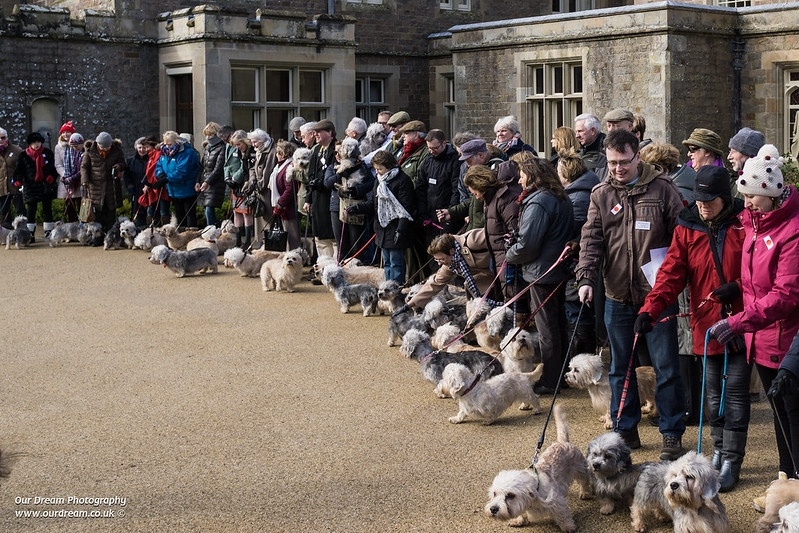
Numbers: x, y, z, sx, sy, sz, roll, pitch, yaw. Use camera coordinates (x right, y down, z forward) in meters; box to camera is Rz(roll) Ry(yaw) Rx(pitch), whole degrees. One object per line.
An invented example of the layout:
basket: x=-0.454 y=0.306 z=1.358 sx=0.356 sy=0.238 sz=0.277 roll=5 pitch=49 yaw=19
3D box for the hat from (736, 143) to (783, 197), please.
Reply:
hat: x=3.651 y=-0.992 z=10.254 sx=0.441 sy=0.544 sz=0.422 roll=4 pitch=6 yaw=11

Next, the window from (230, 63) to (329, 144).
window: x=-2.948 y=-3.900 z=24.017 sx=2.364 sy=2.041 sz=0.298 roll=-4 pitch=6 yaw=-33

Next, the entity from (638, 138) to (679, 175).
entity: x=3.196 y=-1.346 z=12.324 sx=0.436 sy=0.525 sz=0.457 roll=-11 pitch=1 yaw=-2

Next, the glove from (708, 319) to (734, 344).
glove: x=3.259 y=0.651 z=10.230 sx=0.222 sy=0.242 sz=0.089 roll=-36 pitch=-16 yaw=19

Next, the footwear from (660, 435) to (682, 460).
footwear: x=2.951 y=1.948 z=10.982 sx=0.246 sy=0.251 sz=0.312 roll=1 pitch=6 yaw=17

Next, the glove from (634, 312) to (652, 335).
glove: x=2.590 y=0.588 z=10.745 sx=0.178 sy=0.237 sz=0.141 roll=0 pitch=5 yaw=16

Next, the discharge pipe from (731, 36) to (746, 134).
discharge pipe: x=8.142 y=-4.642 z=24.076 sx=0.409 sy=2.134 sz=0.497 roll=-5 pitch=41 yaw=13

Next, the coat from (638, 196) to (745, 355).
coat: x=3.112 y=0.050 z=10.742 sx=1.284 sy=2.181 sz=0.829 roll=2 pitch=8 yaw=35

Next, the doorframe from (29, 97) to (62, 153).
doorframe: x=-8.796 y=-3.466 z=25.212 sx=0.810 sy=1.780 sz=0.141 roll=0 pitch=-23 yaw=-19

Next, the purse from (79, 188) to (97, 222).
purse: x=-6.614 y=-1.326 z=21.617 sx=0.189 sy=0.645 sz=0.568 roll=-1 pitch=8 yaw=-23

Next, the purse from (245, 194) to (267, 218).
purse: x=-2.629 y=-1.154 z=18.728 sx=0.163 sy=0.363 sz=0.321 roll=-34 pitch=20 yaw=-34

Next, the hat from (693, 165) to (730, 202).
hat: x=3.272 y=-0.873 z=10.568 sx=0.422 sy=0.361 sz=0.226 roll=-4 pitch=6 yaw=-23

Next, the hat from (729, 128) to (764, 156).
hat: x=3.999 y=-1.460 z=11.669 sx=0.363 sy=0.311 sz=0.300 roll=-4 pitch=17 yaw=0

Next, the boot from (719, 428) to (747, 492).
boot: x=3.448 y=2.020 z=10.597 sx=0.211 sy=0.559 sz=0.511 roll=16 pitch=23 yaw=39

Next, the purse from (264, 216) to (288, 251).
purse: x=-2.186 y=-0.588 z=18.082 sx=0.457 sy=0.799 sz=0.187 roll=4 pitch=13 yaw=22

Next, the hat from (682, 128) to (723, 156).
hat: x=3.891 y=-1.503 z=12.721 sx=0.437 sy=0.221 sz=0.338 roll=4 pitch=11 yaw=-35
